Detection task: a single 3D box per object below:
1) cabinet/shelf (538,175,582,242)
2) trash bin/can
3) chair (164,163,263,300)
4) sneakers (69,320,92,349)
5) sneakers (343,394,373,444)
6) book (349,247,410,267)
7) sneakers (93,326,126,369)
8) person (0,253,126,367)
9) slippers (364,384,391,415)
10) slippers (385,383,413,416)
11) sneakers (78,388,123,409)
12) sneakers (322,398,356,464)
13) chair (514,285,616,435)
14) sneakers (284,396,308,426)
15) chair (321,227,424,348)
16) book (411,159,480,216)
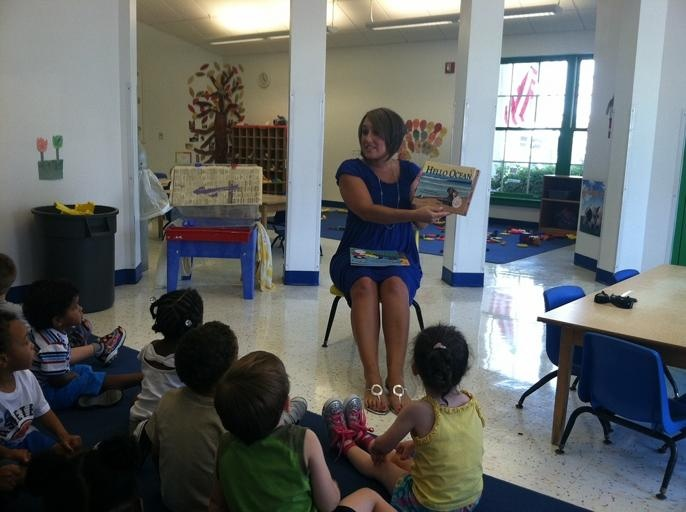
[{"bbox_3d":[4.119,-0.874,9.971,0.653,1.251,0.426,8,3,31],"label":"cabinet/shelf"},{"bbox_3d":[-2.298,0.019,4.554,0.656,0.844,0.655,8,11,30],"label":"trash bin/can"},{"bbox_3d":[-1.163,-0.334,5.396,1.091,1.643,1.148,1,11,-2],"label":"chair"},{"bbox_3d":[-1.651,0.478,3.347,0.091,0.143,0.224,-13,22,-16],"label":"sneakers"},{"bbox_3d":[0.083,0.876,2.761,0.090,0.284,0.111,-9,-33,-2],"label":"sneakers"},{"bbox_3d":[0.215,0.019,3.527,0.246,0.027,0.150,1,37,-9],"label":"book"},{"bbox_3d":[-1.540,0.574,3.461,0.105,0.152,0.320,-7,45,28],"label":"sneakers"},{"bbox_3d":[-1.764,0.333,3.301,0.718,0.764,0.400,-3,27,-44],"label":"person"},{"bbox_3d":[0.198,0.856,3.097,0.074,0.088,0.212,-1,8,-1],"label":"slippers"},{"bbox_3d":[0.319,0.837,3.085,0.147,0.143,0.324,-1,6,-11],"label":"slippers"},{"bbox_3d":[-1.357,0.796,2.910,0.186,0.092,0.076,-8,-15,-10],"label":"sneakers"},{"bbox_3d":[-0.019,0.875,2.680,0.100,0.327,0.122,-7,12,-12],"label":"sneakers"},{"bbox_3d":[1.286,0.551,3.242,0.621,0.901,0.636,-6,7,-34],"label":"chair"},{"bbox_3d":[-0.252,0.837,2.862,0.082,0.107,0.367,-2,4,9],"label":"sneakers"},{"bbox_3d":[0.199,0.357,4.092,0.556,0.910,0.609,1,5,11],"label":"chair"},{"bbox_3d":[0.664,-0.441,3.400,0.387,0.317,0.148,4,8,10],"label":"book"}]
